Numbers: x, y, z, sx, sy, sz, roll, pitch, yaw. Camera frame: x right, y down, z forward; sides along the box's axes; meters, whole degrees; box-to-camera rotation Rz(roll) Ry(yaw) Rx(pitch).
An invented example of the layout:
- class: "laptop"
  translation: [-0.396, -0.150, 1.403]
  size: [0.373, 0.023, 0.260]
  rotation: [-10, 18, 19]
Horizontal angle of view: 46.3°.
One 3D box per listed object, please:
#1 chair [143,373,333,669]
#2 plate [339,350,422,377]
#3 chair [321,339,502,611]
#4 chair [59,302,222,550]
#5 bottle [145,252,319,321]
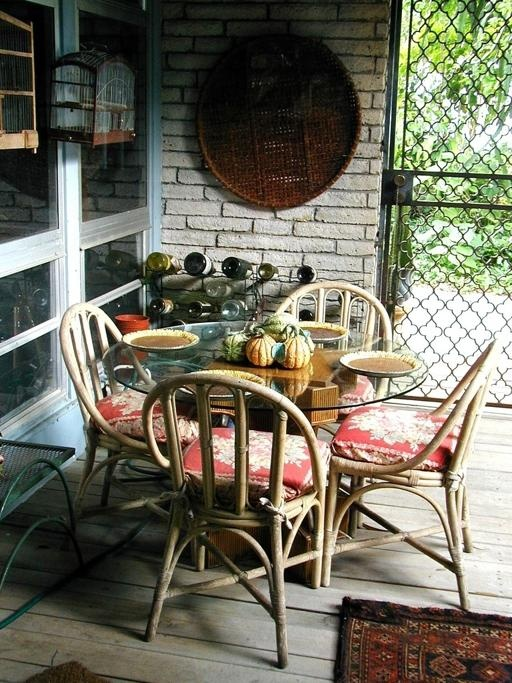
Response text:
- class: "chair"
  translation: [-0.061, 0.391, 1.599]
  size: [0.517, 0.743, 0.496]
  rotation: [4, 17, 6]
- class: "plate"
  translation: [0.369, 0.069, 1.822]
  size: [0.196, 0.069, 0.232]
  rotation: [9, 17, 44]
- class: "chair"
  translation: [0.491, 0.359, 1.933]
  size: [0.479, 0.803, 0.644]
  rotation: [4, 10, 14]
- class: "chair"
  translation: [-0.416, 0.255, 2.128]
  size: [0.576, 0.702, 0.497]
  rotation: [17, 20, 18]
- class: "bottle"
  translation: [-0.250, -0.299, 3.437]
  size: [1.253, 0.367, 0.360]
  rotation: [1, 16, 6]
